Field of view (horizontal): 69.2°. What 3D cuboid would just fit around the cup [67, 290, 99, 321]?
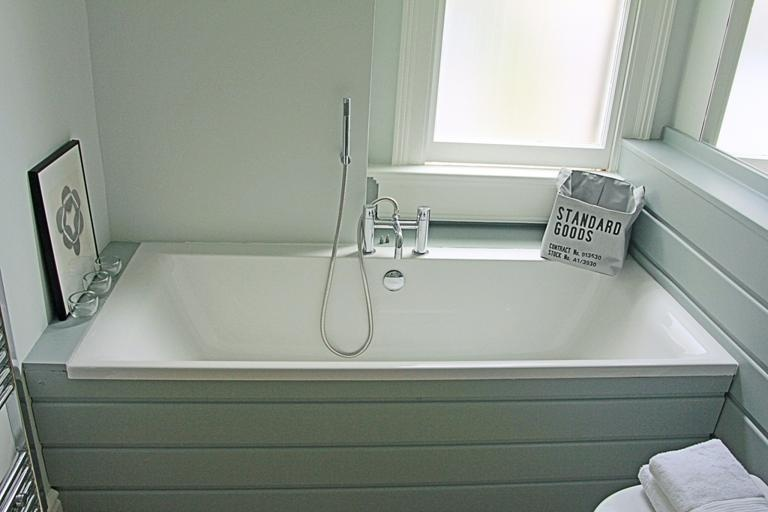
[{"bbox_3d":[-1.209,0.198,2.256,0.105,0.104,0.076,-15,-53,-29],"label":"cup"}]

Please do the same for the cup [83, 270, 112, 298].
[{"bbox_3d":[-1.216,0.119,2.364,0.104,0.098,0.072,-25,-50,-47],"label":"cup"}]

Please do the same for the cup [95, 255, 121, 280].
[{"bbox_3d":[-1.203,0.045,2.429,0.106,0.097,0.076,-13,-57,-33],"label":"cup"}]
